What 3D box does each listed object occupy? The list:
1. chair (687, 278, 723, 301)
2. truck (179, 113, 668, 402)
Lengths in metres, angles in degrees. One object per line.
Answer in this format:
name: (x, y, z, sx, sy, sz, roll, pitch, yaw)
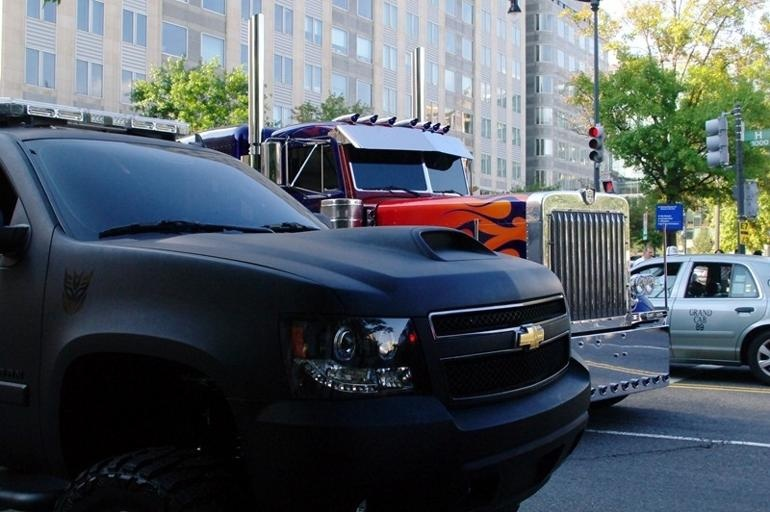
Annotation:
chair: (4.924, 0.570, 11.883, 0.333, 0.331, 0.320, 6, -16, -1)
truck: (-0.583, 0.106, 11.256, 7.999, 4.179, 4.140, -2, 1, 42)
